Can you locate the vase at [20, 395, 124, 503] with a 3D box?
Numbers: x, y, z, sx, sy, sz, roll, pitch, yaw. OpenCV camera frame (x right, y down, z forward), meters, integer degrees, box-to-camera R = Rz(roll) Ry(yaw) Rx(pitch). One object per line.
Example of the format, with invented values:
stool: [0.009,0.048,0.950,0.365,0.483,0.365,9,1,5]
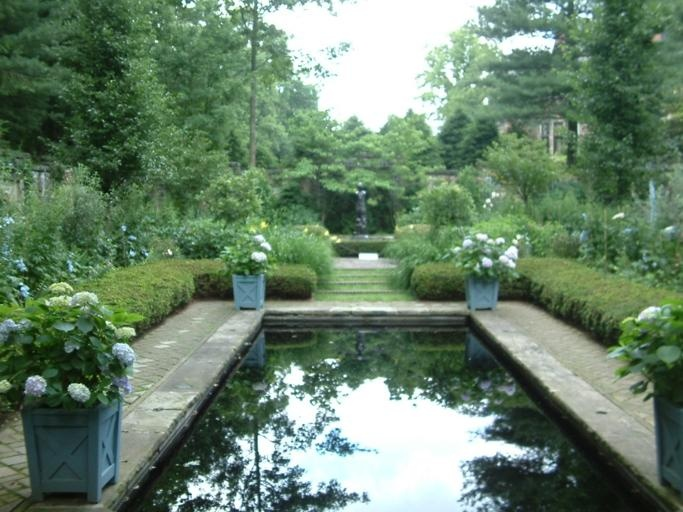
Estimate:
vase: [-2.395,1.768,5.939,0.864,1.176,0.851,0,-3,-2]

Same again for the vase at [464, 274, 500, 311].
vase: [2.361,0.613,10.729,0.595,0.750,0.533,0,0,-3]

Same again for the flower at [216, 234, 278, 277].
flower: [-1.634,0.057,10.882,0.707,0.692,0.811,1,12,-18]

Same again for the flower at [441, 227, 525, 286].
flower: [2.359,0.030,10.617,0.993,0.730,0.931,2,1,-12]

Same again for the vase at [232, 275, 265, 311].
vase: [-1.512,0.608,10.833,0.549,0.634,0.543,0,4,4]
